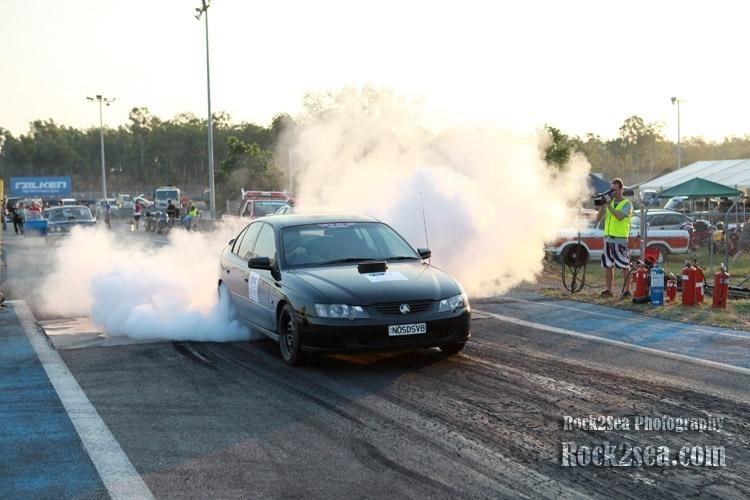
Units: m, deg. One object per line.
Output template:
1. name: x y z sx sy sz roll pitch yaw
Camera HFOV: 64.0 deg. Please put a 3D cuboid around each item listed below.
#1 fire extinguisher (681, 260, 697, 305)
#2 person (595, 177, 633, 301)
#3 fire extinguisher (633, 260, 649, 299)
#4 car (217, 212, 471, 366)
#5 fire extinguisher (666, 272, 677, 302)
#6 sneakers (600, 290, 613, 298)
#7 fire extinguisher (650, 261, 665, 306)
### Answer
1. fire extinguisher: 6.176 0.671 11.790 0.261 0.813 0.313 4 8 29
2. person: 5.363 -0.287 13.381 0.691 2.546 1.458 3 8 24
3. fire extinguisher: 5.442 0.644 12.290 0.295 0.738 0.462 3 8 24
4. car: -0.587 0.497 8.641 3.807 1.822 2.011 8 11 44
5. fire extinguisher: 6.048 0.779 12.268 0.160 0.544 0.290 3 8 23
6. sneakers: 5.018 0.944 13.063 0.112 0.156 0.330 1 5 -13
7. fire extinguisher: 5.637 0.689 11.995 0.294 0.798 0.266 2 8 19
